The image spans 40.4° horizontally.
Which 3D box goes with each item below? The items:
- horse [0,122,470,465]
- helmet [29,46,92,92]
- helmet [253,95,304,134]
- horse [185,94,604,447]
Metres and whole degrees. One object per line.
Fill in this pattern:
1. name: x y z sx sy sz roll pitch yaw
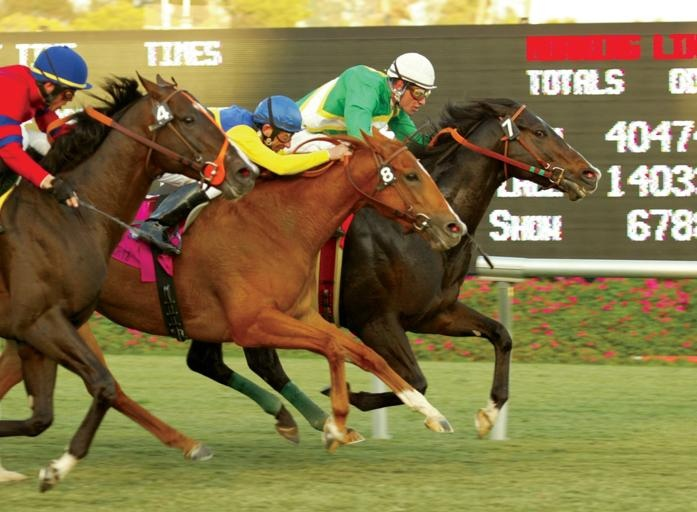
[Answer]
1. horse: -0.602 0.190 4.935 3.110 1.358 0.735 -4 16 34
2. helmet: -1.344 -0.880 4.373 0.348 0.151 0.231 7 24 -30
3. helmet: -0.342 -0.737 4.863 0.314 0.133 0.204 15 30 22
4. horse: 0.400 0.161 5.525 1.064 1.767 3.145 6 -6 -22
